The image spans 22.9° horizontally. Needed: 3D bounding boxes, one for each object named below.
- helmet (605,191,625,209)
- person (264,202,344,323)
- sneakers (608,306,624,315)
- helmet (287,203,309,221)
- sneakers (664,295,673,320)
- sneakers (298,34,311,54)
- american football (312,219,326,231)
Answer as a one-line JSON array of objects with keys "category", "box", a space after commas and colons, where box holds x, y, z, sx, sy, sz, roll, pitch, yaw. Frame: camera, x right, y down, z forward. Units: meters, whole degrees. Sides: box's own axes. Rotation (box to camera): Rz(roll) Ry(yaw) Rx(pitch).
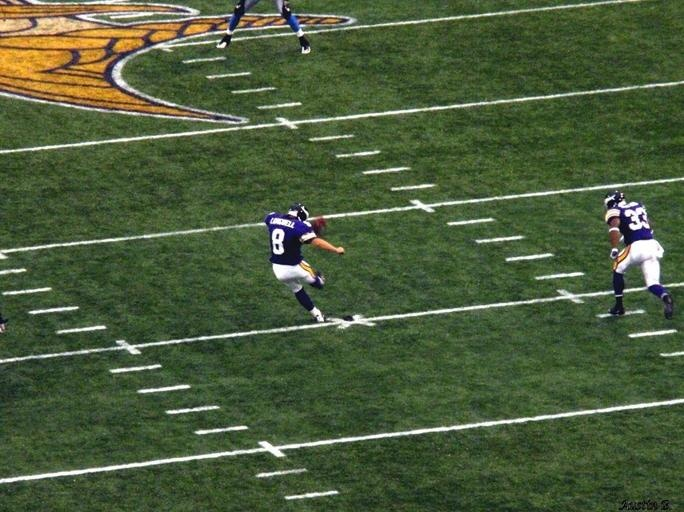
[{"category": "helmet", "box": [3.910, -0.802, 24.372, 0.329, 0.248, 0.233, 7, 11, 25]}, {"category": "person", "box": [-0.645, 0.160, 24.009, 0.729, 1.756, 0.598, -9, 18, -2]}, {"category": "sneakers", "box": [3.941, 0.801, 24.205, 0.096, 0.142, 0.235, -23, 31, -21]}, {"category": "helmet", "box": [-0.652, -0.603, 23.978, 0.252, 0.253, 0.278, -7, 16, 0]}, {"category": "sneakers", "box": [4.559, 0.724, 23.618, 0.147, 0.312, 0.164, -6, 1, 1]}, {"category": "sneakers", "box": [-0.740, -3.932, 31.477, 0.198, 0.391, 0.194, -13, 11, -8]}, {"category": "american football", "box": [-0.351, -0.451, 23.849, 0.176, 0.154, 0.183, -2, 33, -3]}]
